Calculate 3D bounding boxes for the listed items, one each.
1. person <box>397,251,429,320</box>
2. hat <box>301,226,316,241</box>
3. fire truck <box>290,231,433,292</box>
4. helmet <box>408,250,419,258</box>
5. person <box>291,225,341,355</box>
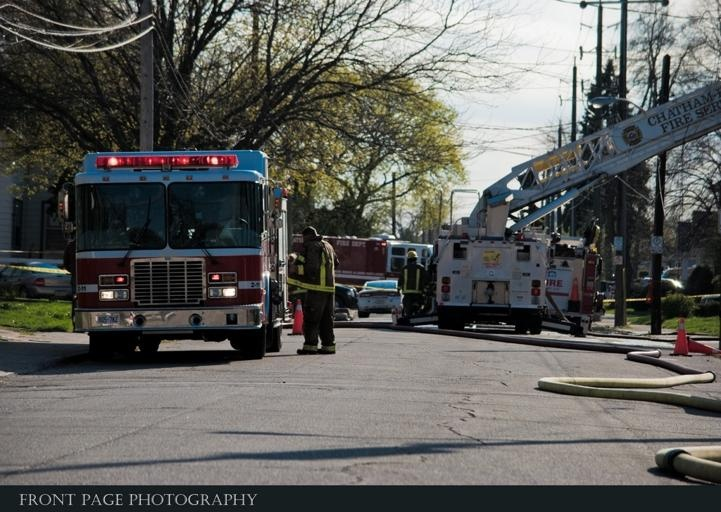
[{"bbox_3d":[1.332,0.778,25.635,0.695,1.753,1.234,0,-2,2],"label":"person"},{"bbox_3d":[-0.935,-0.420,18.337,0.221,0.276,0.289,2,-17,-7],"label":"hat"},{"bbox_3d":[-0.314,0.662,47.637,6.202,2.887,1.931,3,-1,-24],"label":"fire truck"},{"bbox_3d":[1.299,-0.048,25.334,0.326,0.192,0.473,0,-2,-2],"label":"helmet"},{"bbox_3d":[-0.846,0.643,18.378,0.703,2.317,0.976,0,-2,9],"label":"person"}]
